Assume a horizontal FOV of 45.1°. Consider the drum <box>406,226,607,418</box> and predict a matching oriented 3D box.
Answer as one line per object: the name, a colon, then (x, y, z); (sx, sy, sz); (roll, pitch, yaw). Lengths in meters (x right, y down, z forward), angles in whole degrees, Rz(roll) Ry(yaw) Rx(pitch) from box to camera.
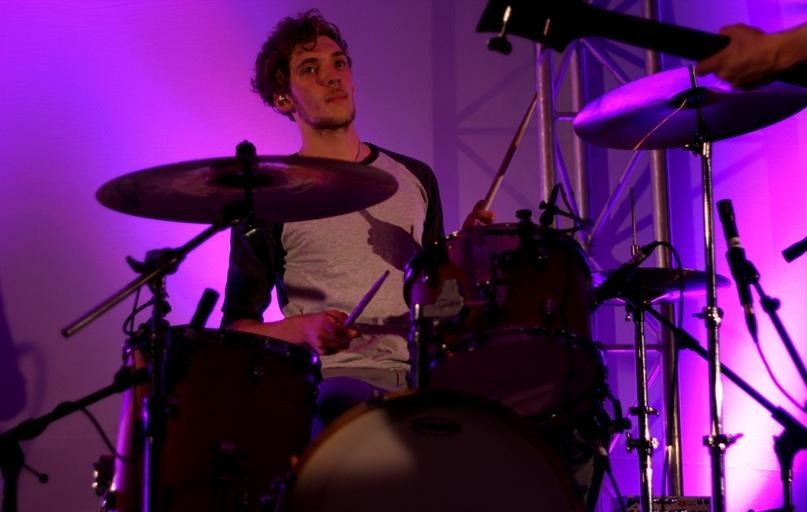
drum: (0.517, 0.411, 4.688); (0.930, 0.667, 0.900); (1, -29, 1)
